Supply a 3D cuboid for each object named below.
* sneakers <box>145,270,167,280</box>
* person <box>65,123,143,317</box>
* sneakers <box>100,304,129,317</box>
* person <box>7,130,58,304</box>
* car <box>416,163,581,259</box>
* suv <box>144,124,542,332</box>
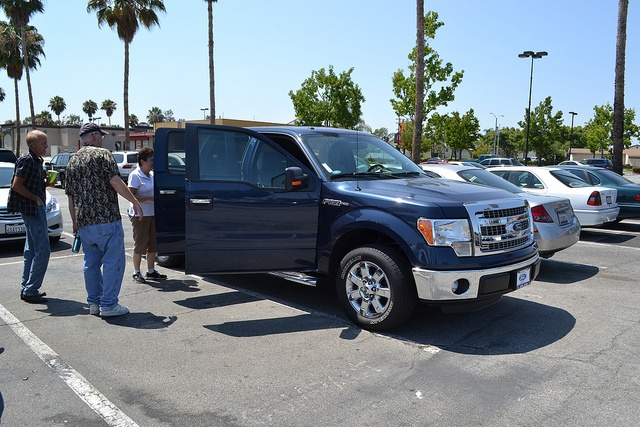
[{"bbox_3d":[-2.814,1.057,7.877,0.382,0.155,0.148,1,0,-9],"label":"sneakers"},{"bbox_3d":[-2.970,0.254,6.183,0.746,2.269,0.478,4,12,18],"label":"person"},{"bbox_3d":[-2.781,1.314,6.211,0.365,0.148,0.131,-2,7,-35],"label":"sneakers"},{"bbox_3d":[-4.185,0.055,6.667,0.583,2.463,0.584,-6,14,-29],"label":"person"},{"bbox_3d":[3.050,-0.137,9.370,3.830,1.224,1.753,11,11,42],"label":"car"},{"bbox_3d":[0.046,0.123,6.157,4.201,1.632,3.242,2,4,38],"label":"suv"}]
